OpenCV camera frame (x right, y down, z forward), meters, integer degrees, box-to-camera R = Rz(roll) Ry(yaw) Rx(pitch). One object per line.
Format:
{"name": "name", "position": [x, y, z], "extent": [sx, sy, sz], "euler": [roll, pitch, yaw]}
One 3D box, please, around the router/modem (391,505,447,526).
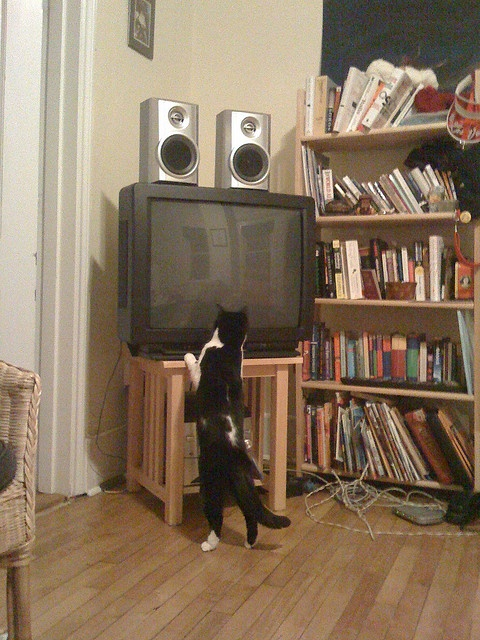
{"name": "router/modem", "position": [0.622, 0.666, 1.841], "extent": [0.171, 0.025, 0.142], "euler": [1, 0, -5]}

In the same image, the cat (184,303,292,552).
{"name": "cat", "position": [-0.024, 0.314, 1.653], "extent": [0.287, 0.673, 0.385], "euler": [1, 0, -10]}

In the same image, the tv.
{"name": "tv", "position": [-0.102, -0.182, 2.076], "extent": [0.783, 0.858, 0.482], "euler": [0, 1, -22]}

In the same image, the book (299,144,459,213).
{"name": "book", "position": [0.549, -0.543, 2.159], "extent": [0.590, 0.247, 0.182], "euler": [1, 0, 20]}

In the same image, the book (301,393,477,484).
{"name": "book", "position": [0.531, 0.395, 2.162], "extent": [0.433, 0.171, 0.357], "euler": [8, 3, 20]}

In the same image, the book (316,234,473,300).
{"name": "book", "position": [0.605, -0.196, 2.152], "extent": [0.594, 0.218, 0.186], "euler": [1, 0, 27]}

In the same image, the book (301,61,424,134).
{"name": "book", "position": [0.478, -0.873, 2.123], "extent": [0.453, 0.268, 0.134], "euler": [1, 0, 21]}
